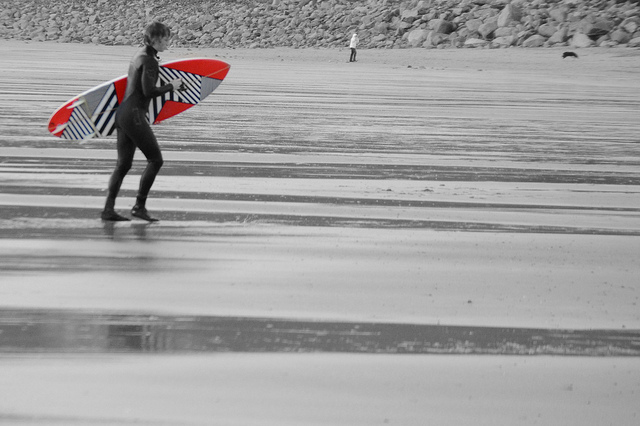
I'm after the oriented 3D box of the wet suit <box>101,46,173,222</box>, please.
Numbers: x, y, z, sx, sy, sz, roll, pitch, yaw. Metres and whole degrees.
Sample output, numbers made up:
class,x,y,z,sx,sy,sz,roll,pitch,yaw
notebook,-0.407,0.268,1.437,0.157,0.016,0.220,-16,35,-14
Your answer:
class,x,y,z,sx,sy,sz,roll,pitch,yaw
wet suit,-2.510,-1.104,14.406,1.382,2.453,0.835,1,-5,44

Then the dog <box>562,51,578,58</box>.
class,x,y,z,sx,sy,sz,roll,pitch,yaw
dog,8.774,-5.524,37.551,0.425,0.171,0.381,5,22,4
